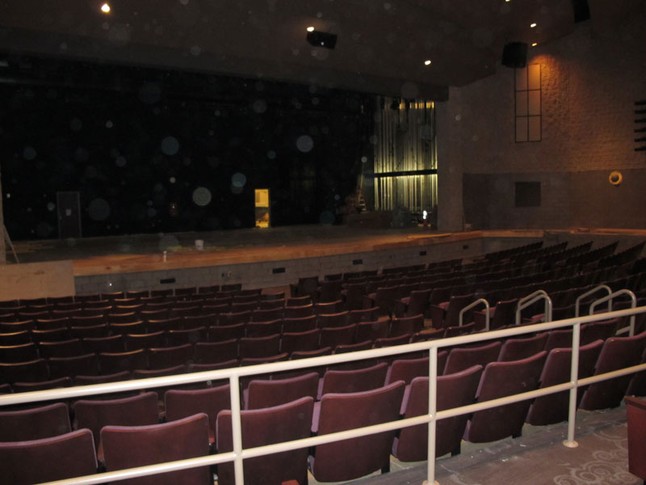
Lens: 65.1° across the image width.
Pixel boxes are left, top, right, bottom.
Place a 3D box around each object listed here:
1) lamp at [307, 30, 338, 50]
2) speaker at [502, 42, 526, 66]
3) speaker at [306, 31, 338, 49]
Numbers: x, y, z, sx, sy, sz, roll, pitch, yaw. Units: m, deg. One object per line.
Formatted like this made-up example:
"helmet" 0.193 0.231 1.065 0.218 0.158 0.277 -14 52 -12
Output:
"lamp" -0.027 -5.340 13.400 0.658 0.149 0.356 6 -38 -26
"speaker" 6.335 -6.157 16.720 0.731 0.790 0.779 3 14 16
"speaker" -0.054 -5.374 13.412 0.653 0.142 0.354 5 -35 -26
